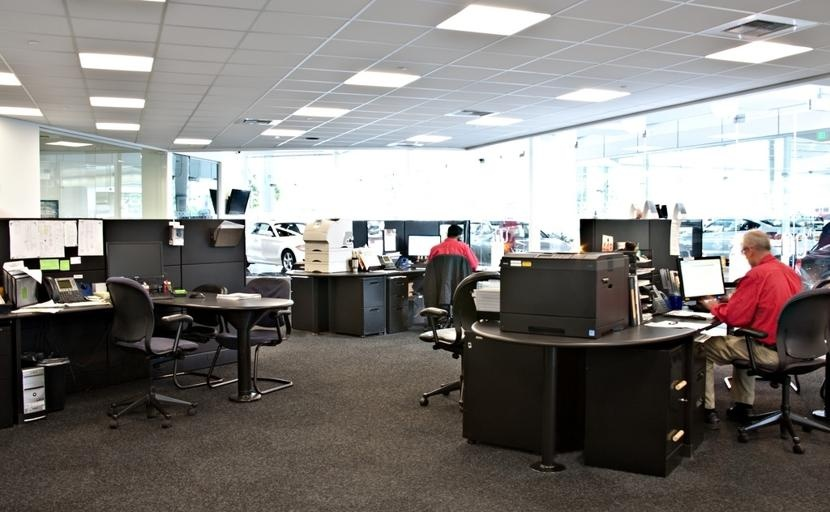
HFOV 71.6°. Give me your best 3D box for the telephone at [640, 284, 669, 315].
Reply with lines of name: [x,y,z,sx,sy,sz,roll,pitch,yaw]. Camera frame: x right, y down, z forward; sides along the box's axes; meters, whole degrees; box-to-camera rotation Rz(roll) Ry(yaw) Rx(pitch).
telephone: [2.441,0.454,6.010,0.323,0.385,0.154,10,-17,-29]

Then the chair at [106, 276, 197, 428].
chair: [-2.867,0.944,6.175,0.907,1.498,1.274,-6,13,-26]

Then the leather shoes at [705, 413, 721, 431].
leather shoes: [2.975,1.651,5.755,0.114,0.085,0.196,-1,12,14]

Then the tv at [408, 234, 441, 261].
tv: [0.128,-0.146,10.208,0.564,0.337,0.149,0,-3,-12]

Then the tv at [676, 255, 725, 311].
tv: [3.233,0.267,6.508,0.730,0.461,0.064,-1,-5,-30]

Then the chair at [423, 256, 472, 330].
chair: [0.444,0.460,8.846,0.832,0.953,0.656,3,0,-24]

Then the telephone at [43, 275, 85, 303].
telephone: [-4.026,0.373,6.607,0.383,0.272,0.367,-6,13,-28]

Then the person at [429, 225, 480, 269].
person: [0.603,-0.098,8.949,0.863,0.712,0.461,6,4,35]

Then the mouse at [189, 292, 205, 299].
mouse: [-2.690,0.484,7.060,0.132,0.038,0.091,-1,3,-20]

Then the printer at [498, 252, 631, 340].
printer: [1.316,0.279,5.020,0.855,0.597,0.842,-1,1,36]

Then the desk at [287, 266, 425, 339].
desk: [-0.889,0.785,9.941,2.059,0.814,1.508,0,-1,-33]

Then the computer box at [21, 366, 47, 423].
computer box: [-3.964,1.423,5.968,0.177,0.510,0.240,-3,12,-13]

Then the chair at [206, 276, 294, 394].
chair: [-1.993,0.926,7.011,1.039,1.270,0.973,1,1,39]

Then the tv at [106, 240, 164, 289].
tv: [-3.412,0.105,6.935,0.681,0.507,0.133,0,-5,-34]

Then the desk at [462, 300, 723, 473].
desk: [1.255,1.179,4.955,1.949,1.140,2.452,1,-15,17]
